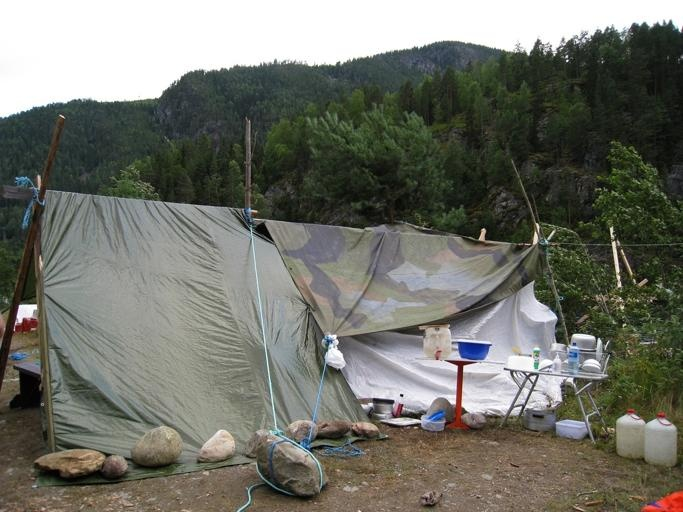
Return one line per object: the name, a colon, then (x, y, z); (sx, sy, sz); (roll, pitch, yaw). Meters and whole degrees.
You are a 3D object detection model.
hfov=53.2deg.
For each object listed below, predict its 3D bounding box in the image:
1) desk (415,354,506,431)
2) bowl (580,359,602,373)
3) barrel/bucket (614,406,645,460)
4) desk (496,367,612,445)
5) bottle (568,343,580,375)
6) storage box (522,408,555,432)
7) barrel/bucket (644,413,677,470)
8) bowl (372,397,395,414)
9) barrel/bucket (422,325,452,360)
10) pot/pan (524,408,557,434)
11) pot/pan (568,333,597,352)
desk: (1.952, 2.204, 11.319); (1.142, 0.971, 1.201); (14, -16, -34)
bowl: (3.898, 1.711, 10.632); (0.300, 0.189, 0.226); (5, 12, 20)
barrel/bucket: (4.240, 2.610, 10.046); (0.344, 0.732, 0.405); (-7, 6, -43)
desk: (3.621, 2.182, 11.478); (1.584, 1.317, 2.056); (5, 12, 22)
bottle: (3.649, 1.606, 10.732); (0.187, 0.365, 0.402); (5, 12, 20)
storage box: (3.252, 2.700, 11.121); (0.338, 0.262, 0.370); (0, -4, 1)
barrel/bucket: (4.525, 2.602, 9.660); (0.458, 0.727, 0.262); (6, 12, 28)
bowl: (0.721, 2.578, 11.653); (0.280, 0.154, 0.222); (16, -21, -33)
barrel/bucket: (1.627, 1.415, 11.711); (0.493, 0.620, 0.570); (-2, 16, 12)
pot/pan: (3.246, 2.691, 11.121); (0.341, 0.262, 0.373); (0, -5, 10)
pot/pan: (3.935, 1.417, 11.133); (0.290, 0.318, 0.318); (1, -6, -4)
